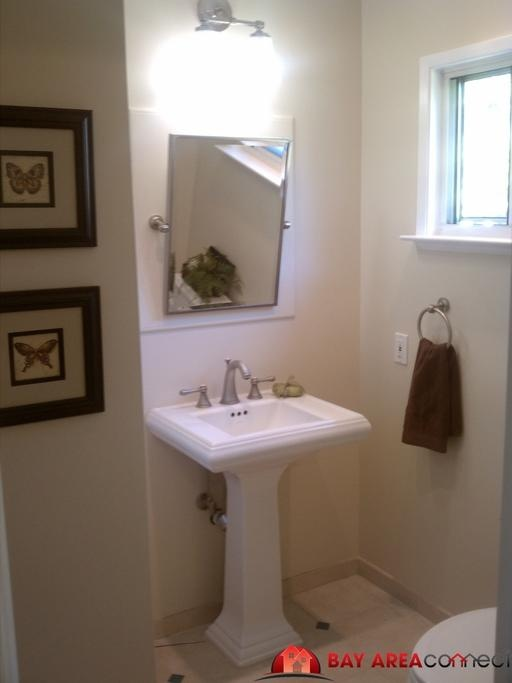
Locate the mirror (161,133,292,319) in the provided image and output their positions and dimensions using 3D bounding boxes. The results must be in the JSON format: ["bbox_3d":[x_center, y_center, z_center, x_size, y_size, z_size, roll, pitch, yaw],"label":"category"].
[{"bbox_3d":[-0.090,-0.319,1.418,0.381,0.588,0.052,-5,23,-27],"label":"mirror"}]

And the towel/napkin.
[{"bbox_3d":[0.396,0.123,1.206,0.053,0.254,0.166,-5,10,-27],"label":"towel/napkin"}]
